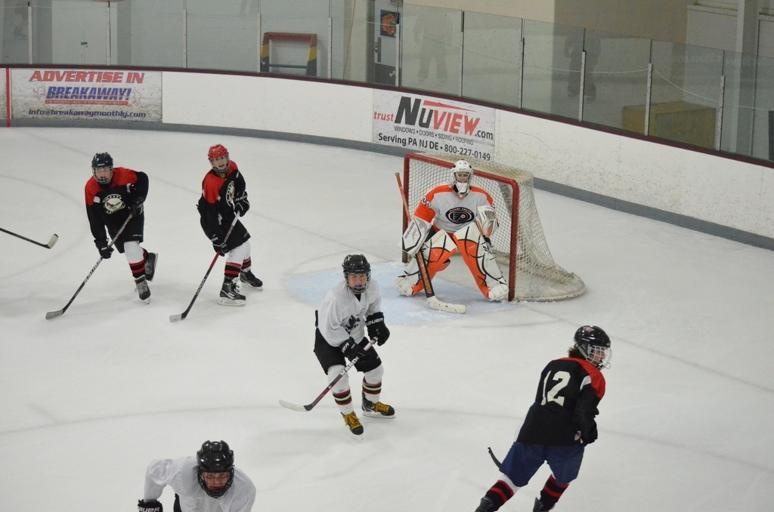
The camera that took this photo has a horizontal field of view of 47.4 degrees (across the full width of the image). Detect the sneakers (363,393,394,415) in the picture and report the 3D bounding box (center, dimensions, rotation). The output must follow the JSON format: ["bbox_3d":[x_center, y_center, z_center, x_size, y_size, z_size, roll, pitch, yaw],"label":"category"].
[{"bbox_3d":[-0.020,1.187,7.061,0.326,0.202,0.117,1,14,3],"label":"sneakers"}]

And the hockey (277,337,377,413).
[{"bbox_3d":[-0.457,0.979,7.047,0.183,0.682,0.116,40,5,-22],"label":"hockey"}]

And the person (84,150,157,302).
[{"bbox_3d":[-2.594,-0.272,8.504,0.571,1.406,0.370,-1,13,-20],"label":"person"}]

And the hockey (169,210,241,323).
[{"bbox_3d":[-1.830,0.152,8.936,0.170,1.248,0.146,29,-4,28],"label":"hockey"}]

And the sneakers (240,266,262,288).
[{"bbox_3d":[-1.392,0.222,8.994,0.225,0.152,0.068,22,34,-3],"label":"sneakers"}]

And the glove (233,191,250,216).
[{"bbox_3d":[-1.450,-0.527,8.734,0.089,0.209,0.163,7,6,39],"label":"glove"}]

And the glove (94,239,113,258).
[{"bbox_3d":[-2.739,-0.070,8.567,0.141,0.186,0.066,1,2,-9],"label":"glove"}]

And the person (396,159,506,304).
[{"bbox_3d":[0.673,-0.299,8.949,1.141,1.298,0.881,3,13,4],"label":"person"}]

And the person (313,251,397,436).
[{"bbox_3d":[-0.233,0.620,6.805,0.604,1.322,0.342,-3,14,-29],"label":"person"}]

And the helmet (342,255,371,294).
[{"bbox_3d":[-0.250,0.142,6.666,0.251,0.318,0.319,1,0,-19],"label":"helmet"}]

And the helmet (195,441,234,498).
[{"bbox_3d":[-1.032,1.269,5.312,0.255,0.310,0.302,-1,6,-14],"label":"helmet"}]

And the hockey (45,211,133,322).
[{"bbox_3d":[-3.001,0.150,8.937,0.197,0.201,1.359,23,63,40],"label":"hockey"}]

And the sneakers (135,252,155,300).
[{"bbox_3d":[-2.381,0.200,8.718,0.152,0.495,0.193,-8,-6,25],"label":"sneakers"}]

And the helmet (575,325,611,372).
[{"bbox_3d":[1.386,0.609,5.914,0.240,0.281,0.283,13,-5,-36],"label":"helmet"}]

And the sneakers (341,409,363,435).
[{"bbox_3d":[-0.275,1.264,6.827,0.088,0.103,0.255,-20,27,-19],"label":"sneakers"}]

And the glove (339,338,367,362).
[{"bbox_3d":[-0.242,0.706,6.711,0.223,0.177,0.110,-2,14,-25],"label":"glove"}]

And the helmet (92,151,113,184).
[{"bbox_3d":[-2.763,-0.854,8.389,0.208,0.285,0.280,-3,27,-6],"label":"helmet"}]

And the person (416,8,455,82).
[{"bbox_3d":[0.684,-2.973,12.589,0.519,1.007,0.124,13,15,34],"label":"person"}]

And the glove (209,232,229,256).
[{"bbox_3d":[-1.626,-0.114,8.678,0.178,0.225,0.114,-2,1,-3],"label":"glove"}]

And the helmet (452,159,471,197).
[{"bbox_3d":[0.747,-0.783,8.682,0.254,0.354,0.359,1,4,2],"label":"helmet"}]
